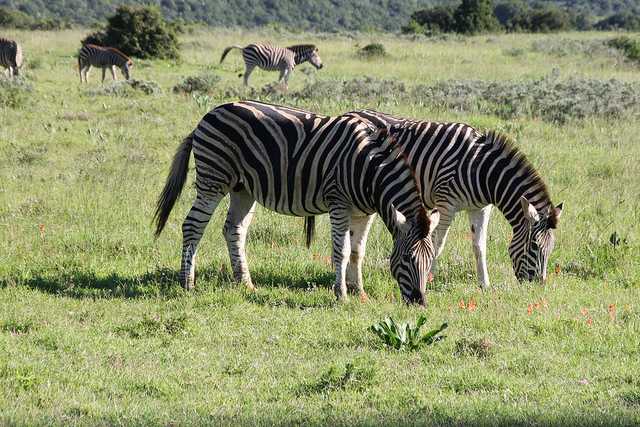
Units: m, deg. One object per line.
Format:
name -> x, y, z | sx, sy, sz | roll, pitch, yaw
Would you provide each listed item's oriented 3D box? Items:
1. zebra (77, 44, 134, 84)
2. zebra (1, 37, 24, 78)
zebra -> -8.957, -6.020, 39.242 | 2.463, 1.544, 0.723 | 12, 16, 13
zebra -> -12.322, -6.174, 37.812 | 0.791, 1.432, 1.654 | 0, 7, -21
